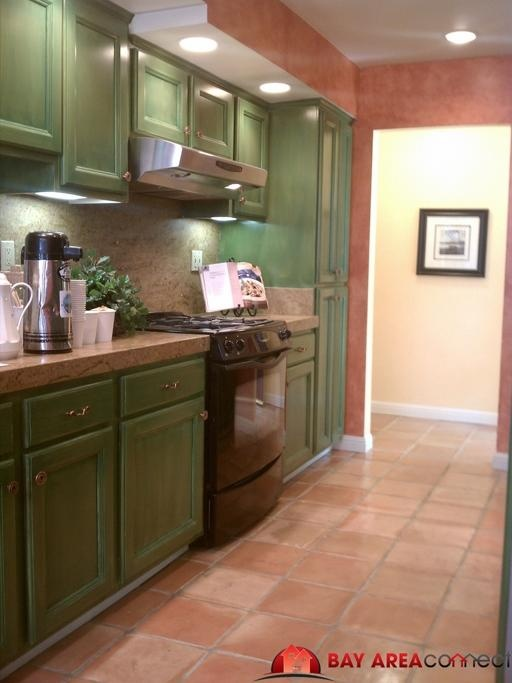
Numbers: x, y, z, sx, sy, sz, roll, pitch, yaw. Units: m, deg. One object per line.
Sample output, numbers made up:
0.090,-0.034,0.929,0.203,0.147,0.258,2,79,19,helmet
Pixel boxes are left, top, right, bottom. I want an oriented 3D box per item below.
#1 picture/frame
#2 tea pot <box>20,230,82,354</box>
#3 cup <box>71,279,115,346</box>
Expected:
1.687,-0.853,4.431,0.559,0.574,0.048,5,8,29,picture/frame
-0.559,-0.133,1.435,0.142,0.329,0.086,0,1,-25,tea pot
-0.473,-0.078,1.692,0.197,0.177,0.128,-1,9,-8,cup
